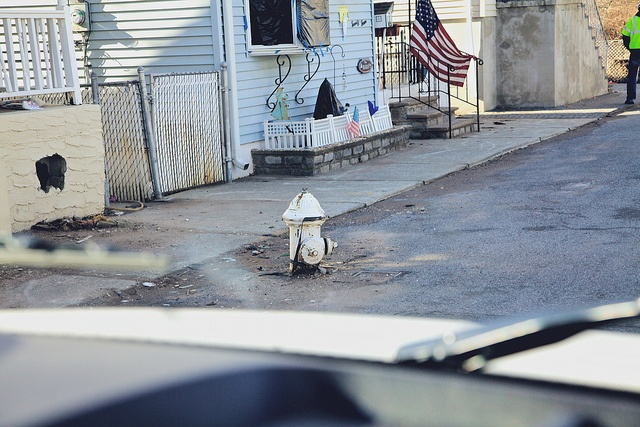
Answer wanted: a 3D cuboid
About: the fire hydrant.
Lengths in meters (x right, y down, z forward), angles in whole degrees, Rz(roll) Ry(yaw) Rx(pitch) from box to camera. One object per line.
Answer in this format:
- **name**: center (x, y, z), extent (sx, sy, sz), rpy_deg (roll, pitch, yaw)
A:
- **fire hydrant**: center (-0.147, 0.209, 11.174), extent (0.554, 0.969, 0.311), rpy_deg (-2, 12, 5)
